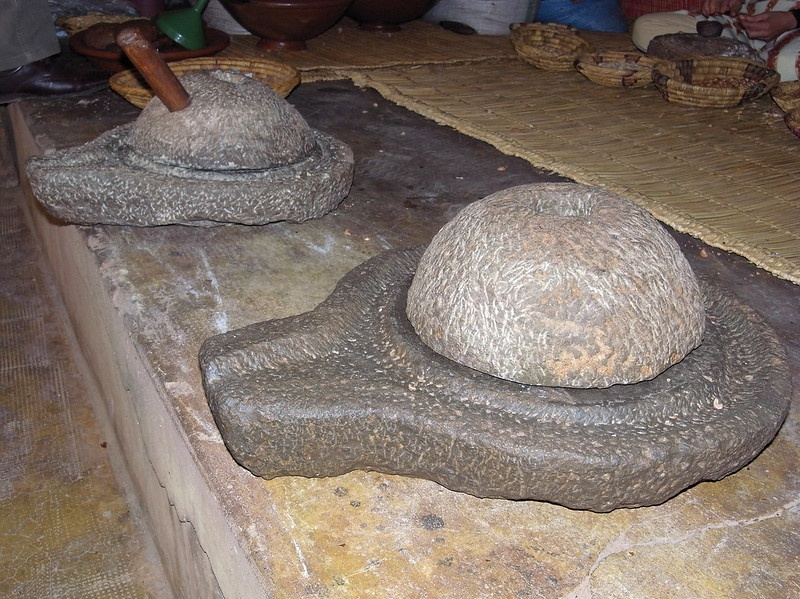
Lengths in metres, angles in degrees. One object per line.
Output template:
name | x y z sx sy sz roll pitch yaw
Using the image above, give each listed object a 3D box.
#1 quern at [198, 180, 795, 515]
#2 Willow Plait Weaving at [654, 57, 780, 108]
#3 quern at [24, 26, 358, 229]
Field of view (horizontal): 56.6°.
quern | 0.344 0.164 1.903 1.672 0.394 0.934 -5 30 -11
Willow Plait Weaving | 1.859 -1.278 4.316 0.643 0.115 0.500 9 27 9
quern | -0.783 -0.633 2.777 1.167 0.486 0.771 -18 47 -23
